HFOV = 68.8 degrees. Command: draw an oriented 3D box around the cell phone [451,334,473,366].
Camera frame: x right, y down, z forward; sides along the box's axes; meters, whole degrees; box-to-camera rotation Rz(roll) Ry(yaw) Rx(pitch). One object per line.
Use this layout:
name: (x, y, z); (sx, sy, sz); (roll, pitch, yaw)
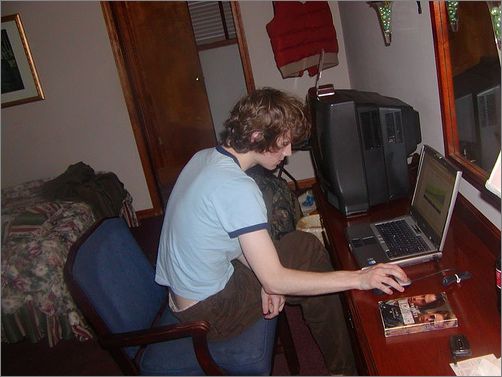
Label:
cell phone: (0.658, 0.509, 1.160); (0.066, 0.041, 0.073); (-11, 17, 2)

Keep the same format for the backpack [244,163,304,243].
backpack: (0.164, 0.057, 2.760); (0.155, 0.401, 0.558); (-27, 41, 24)

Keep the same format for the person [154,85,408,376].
person: (0.075, -0.053, 2.038); (1.090, 1.582, 1.066); (-11, 36, -9)

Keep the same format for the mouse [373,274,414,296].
mouse: (0.542, 0.383, 1.420); (0.112, 0.032, 0.072); (-22, 33, 8)

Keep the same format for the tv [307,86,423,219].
tv: (0.580, -0.231, 2.202); (0.601, 0.700, 0.686); (-11, 27, 2)

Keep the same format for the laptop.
laptop: (0.655, 0.162, 1.713); (0.455, 0.487, 0.572); (-12, 30, 15)
